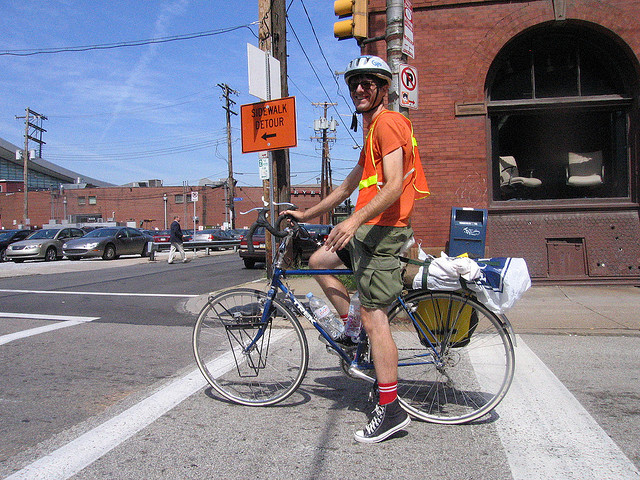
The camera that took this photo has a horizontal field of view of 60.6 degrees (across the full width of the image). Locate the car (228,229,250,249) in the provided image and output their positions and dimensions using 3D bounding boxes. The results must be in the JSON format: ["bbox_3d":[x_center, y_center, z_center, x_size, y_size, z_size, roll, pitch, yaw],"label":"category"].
[{"bbox_3d":[-4.205,-0.008,27.564,1.130,0.816,2.441,0,4,8],"label":"car"}]

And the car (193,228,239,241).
[{"bbox_3d":[-6.340,-0.239,32.548,0.927,0.663,2.044,1,4,23],"label":"car"}]

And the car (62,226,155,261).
[{"bbox_3d":[-9.107,0.130,24.298,1.883,1.284,4.320,1,4,20],"label":"car"}]

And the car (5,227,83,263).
[{"bbox_3d":[-11.420,0.152,23.158,1.111,0.794,2.463,-2,-3,17],"label":"car"}]

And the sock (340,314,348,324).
[{"bbox_3d":[0.200,0.680,4.716,0.024,0.080,0.080,-6,8,-34],"label":"sock"}]

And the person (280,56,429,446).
[{"bbox_3d":[0.400,-0.003,4.575,0.959,3.145,1.197,0,7,10],"label":"person"}]

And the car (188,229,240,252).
[{"bbox_3d":[-6.432,0.180,33.034,1.942,1.353,3.389,0,7,12],"label":"car"}]

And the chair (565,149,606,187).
[{"bbox_3d":[5.392,-1.459,11.477,0.746,0.859,0.740,-3,6,17],"label":"chair"}]

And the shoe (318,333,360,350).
[{"bbox_3d":[0.146,0.864,4.698,0.376,0.159,0.129,-2,-4,19],"label":"shoe"}]

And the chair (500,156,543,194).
[{"bbox_3d":[4.011,-1.251,11.178,0.759,0.952,0.793,-3,1,-17],"label":"chair"}]

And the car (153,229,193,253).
[{"bbox_3d":[-7.635,0.114,28.279,1.305,0.993,2.926,0,4,11],"label":"car"}]
